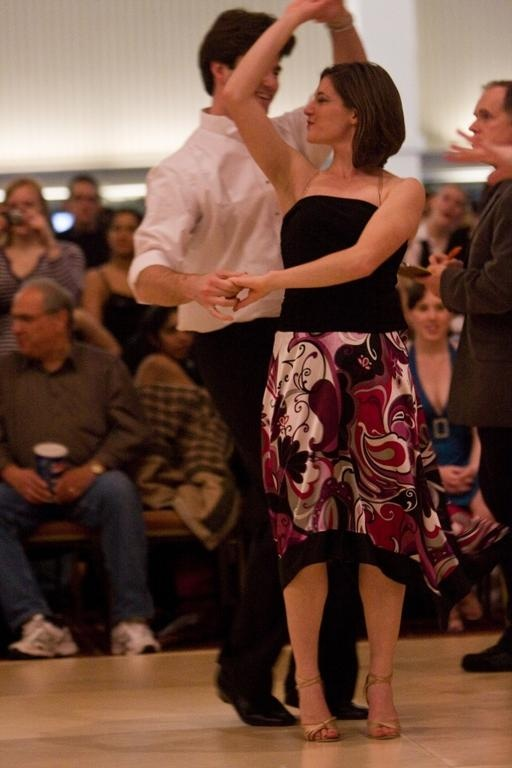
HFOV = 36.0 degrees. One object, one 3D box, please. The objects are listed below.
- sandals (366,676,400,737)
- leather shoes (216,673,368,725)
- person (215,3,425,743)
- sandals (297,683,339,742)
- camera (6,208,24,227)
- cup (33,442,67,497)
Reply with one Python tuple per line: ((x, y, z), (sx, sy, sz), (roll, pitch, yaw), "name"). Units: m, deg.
((0.207, 0.547, 1.361), (0.044, 0.053, 0.124), (-4, 26, 5), "sandals")
((0.074, 0.601, 1.566), (0.342, 0.115, 0.102), (0, -2, 7), "leather shoes")
((0.134, -0.037, 1.436), (0.356, 1.312, 0.359), (-3, -11, 0), "person")
((0.090, 0.550, 1.344), (0.048, 0.052, 0.136), (-7, 8, -8), "sandals")
((-0.811, -0.554, 2.660), (0.056, 0.054, 0.063), (15, 1, -45), "camera")
((-0.619, 0.261, 2.359), (0.105, 0.139, 0.096), (10, 13, 8), "cup")
